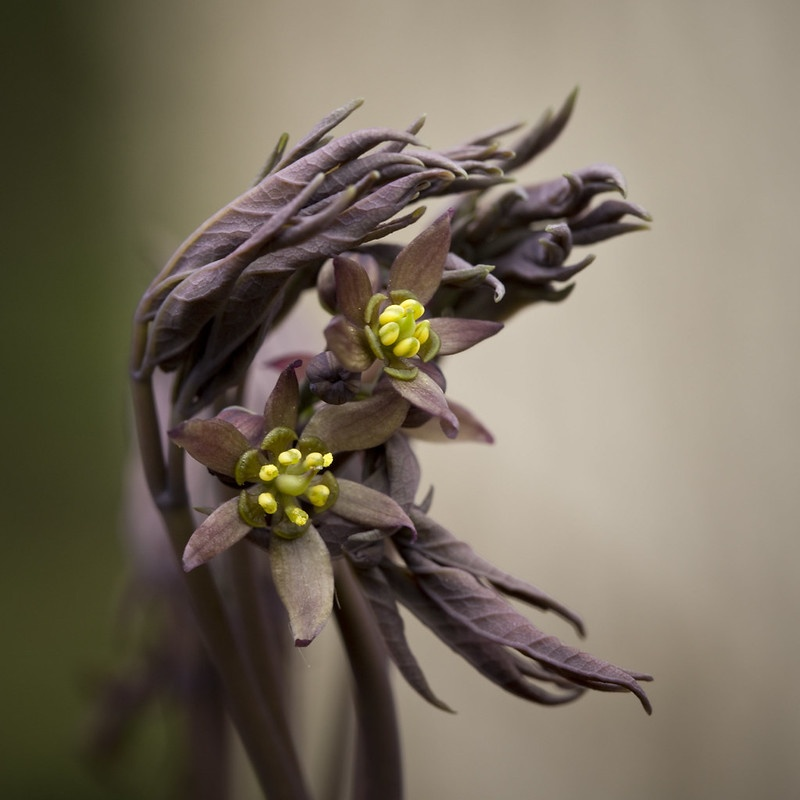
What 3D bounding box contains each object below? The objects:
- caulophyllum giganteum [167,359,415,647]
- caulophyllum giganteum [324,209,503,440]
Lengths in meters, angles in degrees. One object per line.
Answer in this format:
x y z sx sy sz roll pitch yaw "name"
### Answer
-0.058 0.054 0.503 0.150 0.138 0.071 20 -29 -41 "caulophyllum giganteum"
0.015 -0.039 0.520 0.050 0.101 0.127 -18 -5 -40 "caulophyllum giganteum"
